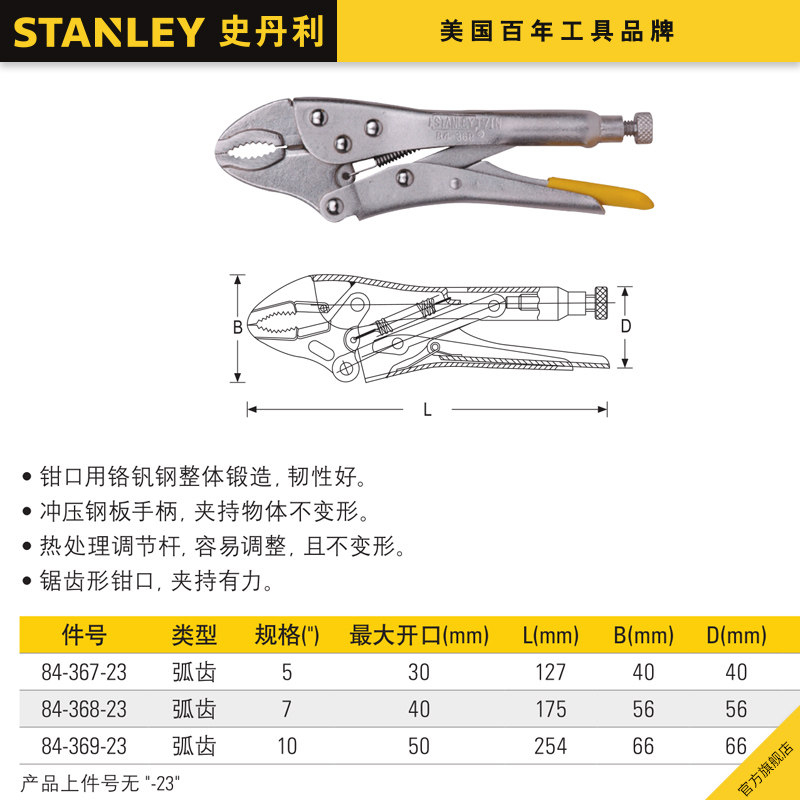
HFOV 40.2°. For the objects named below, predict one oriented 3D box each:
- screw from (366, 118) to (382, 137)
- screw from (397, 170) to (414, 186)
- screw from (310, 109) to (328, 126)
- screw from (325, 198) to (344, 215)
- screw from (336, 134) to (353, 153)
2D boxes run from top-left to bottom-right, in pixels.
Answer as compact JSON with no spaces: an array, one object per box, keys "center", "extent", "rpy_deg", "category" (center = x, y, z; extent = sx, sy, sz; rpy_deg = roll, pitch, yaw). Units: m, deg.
[{"center":[-0.071,-0.739,2.987],"extent":[0.042,0.046,0.013],"rpy_deg":[-1,-8,-9],"category":"screw"},{"center":[0.015,-0.609,3.013],"extent":[0.041,0.047,0.027],"rpy_deg":[-9,-1,7],"category":"screw"},{"center":[-0.222,-0.768,2.995],"extent":[0.037,0.043,0.010],"rpy_deg":[0,4,9],"category":"screw"},{"center":[-0.179,-0.526,3.013],"extent":[0.041,0.048,0.016],"rpy_deg":[-1,3,2],"category":"screw"},{"center":[-0.154,-0.697,2.997],"extent":[0.045,0.049,0.012],"rpy_deg":[-2,-8,-2],"category":"screw"}]
